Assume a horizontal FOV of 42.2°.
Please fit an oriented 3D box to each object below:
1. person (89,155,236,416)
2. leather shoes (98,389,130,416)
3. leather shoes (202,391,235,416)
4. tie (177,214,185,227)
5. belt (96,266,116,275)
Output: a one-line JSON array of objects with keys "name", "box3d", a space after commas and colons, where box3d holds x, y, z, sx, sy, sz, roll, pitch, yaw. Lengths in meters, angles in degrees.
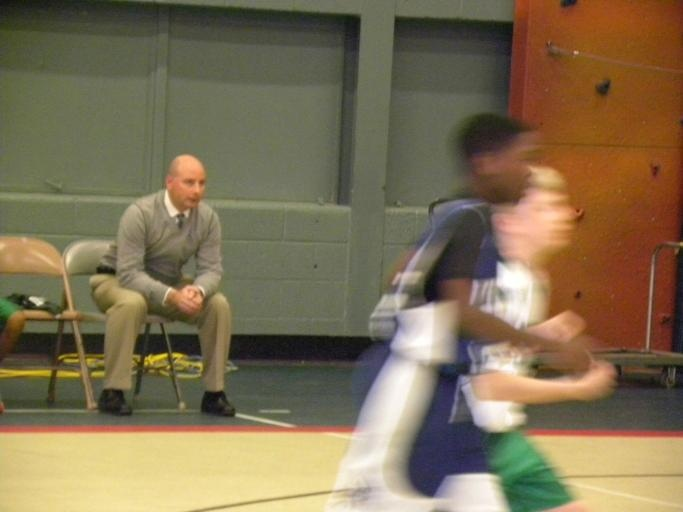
[{"name": "person", "box3d": [-1.113, 0.163, 5.549, 0.852, 1.596, 0.653, 0, 7, -16]}, {"name": "leather shoes", "box3d": [-1.372, 0.884, 5.389, 0.244, 0.150, 0.107, 7, 8, 36]}, {"name": "leather shoes", "box3d": [-0.765, 0.910, 5.501, 0.255, 0.145, 0.116, 6, 7, 28]}, {"name": "tie", "box3d": [-1.010, -0.229, 5.644, 0.050, 0.072, 0.019, -3, 23, -29]}, {"name": "belt", "box3d": [-1.514, 0.088, 5.715, 0.109, 0.055, 0.037, 7, 22, -17]}]
